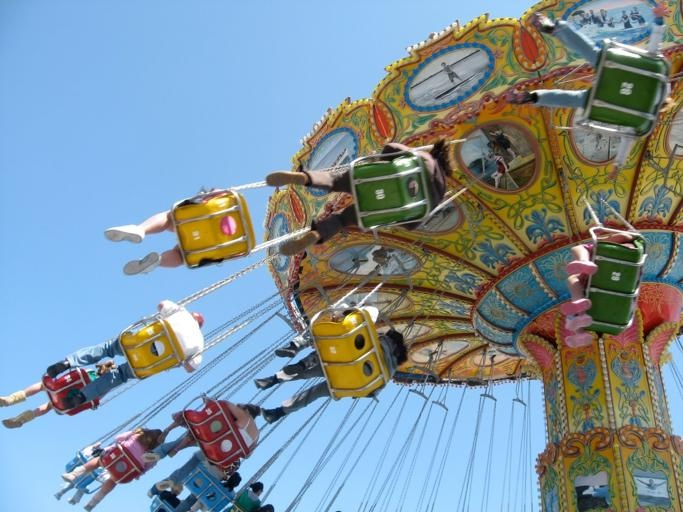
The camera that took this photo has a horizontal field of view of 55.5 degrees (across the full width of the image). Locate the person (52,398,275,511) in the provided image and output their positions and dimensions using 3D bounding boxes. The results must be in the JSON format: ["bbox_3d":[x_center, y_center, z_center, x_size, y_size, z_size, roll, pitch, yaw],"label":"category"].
[{"bbox_3d":[-2.650,2.834,10.013,2.452,1.345,1.096,-3,-36,21],"label":"person"}]

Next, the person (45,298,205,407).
[{"bbox_3d":[-2.810,1.276,9.159,1.909,1.301,0.910,-17,-44,37],"label":"person"}]

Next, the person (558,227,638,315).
[{"bbox_3d":[3.021,0.165,8.254,0.479,1.078,1.137,17,-3,44],"label":"person"}]

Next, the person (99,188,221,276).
[{"bbox_3d":[-2.093,-0.301,7.589,1.020,1.015,0.713,12,-34,0],"label":"person"}]

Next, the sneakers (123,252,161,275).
[{"bbox_3d":[-2.020,0.086,6.662,0.339,0.127,0.137,-20,-35,14],"label":"sneakers"}]

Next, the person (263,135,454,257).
[{"bbox_3d":[0.283,-0.616,7.058,1.752,1.660,0.644,14,-35,-4],"label":"person"}]
